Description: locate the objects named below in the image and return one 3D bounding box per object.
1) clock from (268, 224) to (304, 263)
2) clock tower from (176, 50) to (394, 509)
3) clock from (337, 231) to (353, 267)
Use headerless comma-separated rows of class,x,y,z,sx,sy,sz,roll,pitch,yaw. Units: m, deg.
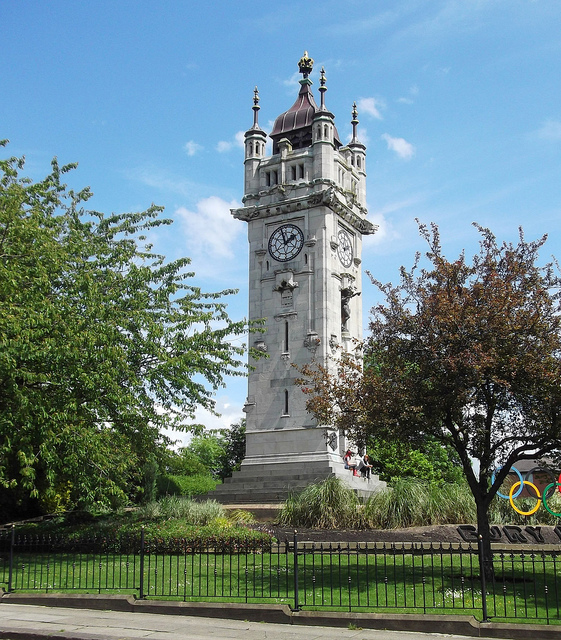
clock,0.358,-4.074,46.303,2.054,1.946,0.115,-15,-29,30
clock tower,1.428,-2.101,47.161,12.306,24.674,13.803,1,-10,-2
clock,3.560,-3.902,47.741,0.137,1.896,1.992,-9,-17,28
